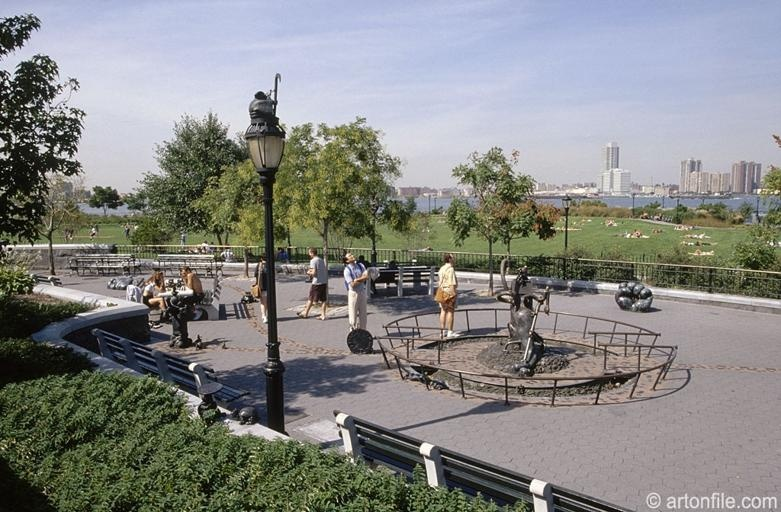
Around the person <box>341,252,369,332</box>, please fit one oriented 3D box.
[{"bbox_3d":[-0.855,0.915,19.303,0.581,2.011,1.557,-3,2,-3],"label":"person"}]

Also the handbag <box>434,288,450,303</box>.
[{"bbox_3d":[1.321,1.007,19.229,0.485,0.390,0.238,-1,3,42],"label":"handbag"}]

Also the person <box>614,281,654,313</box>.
[{"bbox_3d":[7.561,1.271,23.348,0.869,0.500,0.989,-18,34,-22],"label":"person"}]

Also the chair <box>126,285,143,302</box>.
[{"bbox_3d":[-7.502,1.100,21.991,0.262,0.427,0.474,4,-6,-26],"label":"chair"}]

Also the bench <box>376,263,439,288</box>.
[{"bbox_3d":[0.471,0.610,26.639,1.429,0.539,1.065,-1,10,-13],"label":"bench"}]
